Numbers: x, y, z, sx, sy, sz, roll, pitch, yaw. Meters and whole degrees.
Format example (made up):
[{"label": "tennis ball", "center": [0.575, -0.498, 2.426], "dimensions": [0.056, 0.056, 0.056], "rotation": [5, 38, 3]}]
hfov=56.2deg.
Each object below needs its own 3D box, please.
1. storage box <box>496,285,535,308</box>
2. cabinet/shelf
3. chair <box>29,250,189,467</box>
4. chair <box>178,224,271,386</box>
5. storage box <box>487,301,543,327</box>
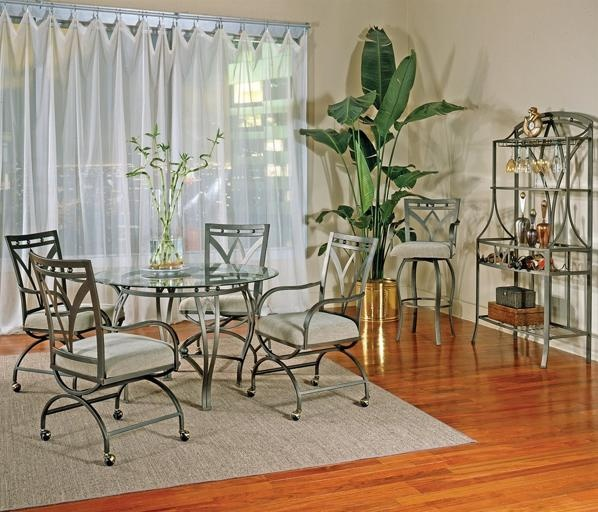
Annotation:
[{"label": "storage box", "center": [1.804, 0.342, 4.601], "dimensions": [0.162, 0.116, 0.235], "rotation": [1, 1, -17]}, {"label": "cabinet/shelf", "center": [1.886, -0.216, 4.613], "dimensions": [0.537, 1.989, 1.192], "rotation": [-2, 8, -17]}, {"label": "chair", "center": [-1.125, 0.455, 3.218], "dimensions": [0.723, 1.028, 1.313], "rotation": [-4, 8, -26]}, {"label": "chair", "center": [-0.603, 0.339, 3.542], "dimensions": [0.592, 0.606, 0.373], "rotation": [20, -38, -34]}, {"label": "storage box", "center": [1.833, 0.494, 4.602], "dimensions": [0.208, 0.108, 0.314], "rotation": [-1, 3, -20]}]
